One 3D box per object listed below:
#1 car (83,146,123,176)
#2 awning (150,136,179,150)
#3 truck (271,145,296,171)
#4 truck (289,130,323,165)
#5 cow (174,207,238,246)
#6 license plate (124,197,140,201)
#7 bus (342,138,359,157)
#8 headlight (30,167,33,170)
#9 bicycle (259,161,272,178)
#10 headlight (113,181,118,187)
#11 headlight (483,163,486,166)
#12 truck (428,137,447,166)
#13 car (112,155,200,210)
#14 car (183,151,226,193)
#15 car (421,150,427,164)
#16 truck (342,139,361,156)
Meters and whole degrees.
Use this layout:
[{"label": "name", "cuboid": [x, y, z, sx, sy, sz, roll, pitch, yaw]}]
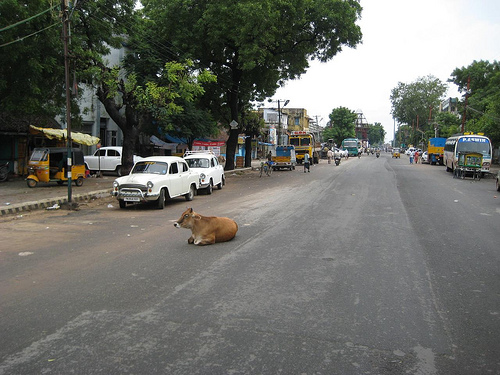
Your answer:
[{"label": "car", "cuboid": [-11.880, -2.171, 32.589, 3.388, 1.953, 2.155, 2, 3, 8]}, {"label": "awning", "cuboid": [-10.214, -5.314, 47.071, 0.995, 1.266, 3.442, 5, 6, 44]}, {"label": "truck", "cuboid": [3.891, -3.434, 45.933, 2.522, 3.039, 4.985, 2, 6, 5]}, {"label": "truck", "cuboid": [7.877, -5.879, 58.535, 3.469, 4.921, 10.758, 0, 9, 14]}, {"label": "cow", "cuboid": [-1.050, 1.007, 9.718, 1.038, 1.025, 1.384, 3, 7, 15]}, {"label": "license plate", "cuboid": [-4.552, 0.444, 15.575, 0.688, 0.158, 0.122, 2, 4, 13]}, {"label": "bus", "cuboid": [23.066, -9.385, 92.698, 2.807, 3.063, 4.724, 0, 3, 12]}, {"label": "headlight", "cuboid": [-12.512, -1.106, 23.098, 0.113, 0.073, 0.127, 2, 28, -3]}, {"label": "bicycle", "cuboid": [1.370, -1.640, 36.989, 0.724, 1.015, 1.610, -2, 0, 16]}, {"label": "headlight", "cuboid": [-5.369, -0.136, 16.239, 0.194, 0.213, 0.050, -3, -11, 26]}, {"label": "headlight", "cuboid": [18.572, -1.851, 31.972, 0.167, 0.105, 0.178, 1, 5, 34]}, {"label": "truck", "cuboid": [25.003, -4.903, 53.912, 1.634, 2.513, 4.597, 1, 2, 18]}, {"label": "car", "cuboid": [-3.849, -0.287, 17.080, 1.665, 1.617, 3.972, 0, 2, 13]}, {"label": "car", "cuboid": [-2.562, -1.032, 22.108, 1.326, 1.426, 3.014, 1, 6, 10]}, {"label": "car", "cuboid": [25.990, -4.411, 60.265, 0.711, 1.541, 2.104, 2, 4, 21]}, {"label": "truck", "cuboid": [22.702, -9.059, 91.464, 3.499, 3.757, 4.751, 2, 4, 13]}]
